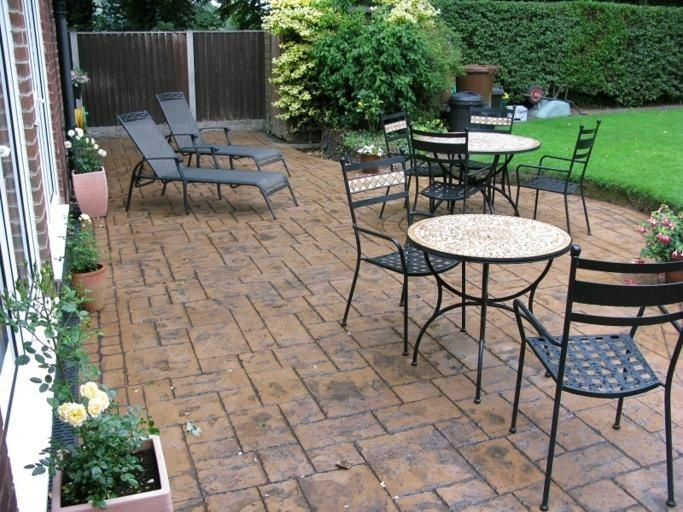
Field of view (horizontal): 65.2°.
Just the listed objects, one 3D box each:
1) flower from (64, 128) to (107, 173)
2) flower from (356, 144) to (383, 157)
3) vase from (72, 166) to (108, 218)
[{"bbox_3d":[-3.232,-1.340,6.683,0.420,0.525,0.607,-13,26,-22],"label":"flower"},{"bbox_3d":[0.454,-1.782,8.967,0.389,0.122,0.317,3,14,13],"label":"flower"},{"bbox_3d":[-3.123,-0.786,6.673,0.395,0.604,0.214,-13,29,-20],"label":"vase"}]
